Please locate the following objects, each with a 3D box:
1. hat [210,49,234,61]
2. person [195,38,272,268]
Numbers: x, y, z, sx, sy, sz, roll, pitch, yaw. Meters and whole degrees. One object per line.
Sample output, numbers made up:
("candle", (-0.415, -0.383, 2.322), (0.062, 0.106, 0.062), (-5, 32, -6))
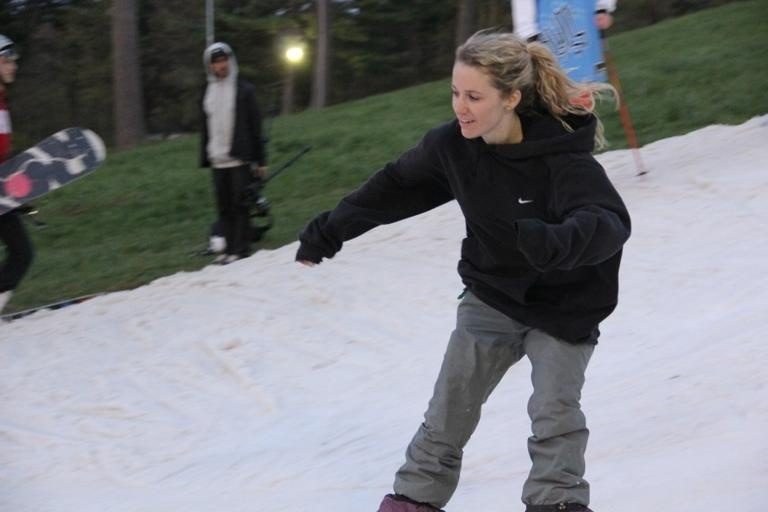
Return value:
("hat", (-1.407, -1.716, 7.887), (0.175, 0.103, 0.068), (-12, 13, -30))
("person", (-1.335, -0.871, 8.045), (0.582, 1.900, 0.253), (-10, 13, -10))
